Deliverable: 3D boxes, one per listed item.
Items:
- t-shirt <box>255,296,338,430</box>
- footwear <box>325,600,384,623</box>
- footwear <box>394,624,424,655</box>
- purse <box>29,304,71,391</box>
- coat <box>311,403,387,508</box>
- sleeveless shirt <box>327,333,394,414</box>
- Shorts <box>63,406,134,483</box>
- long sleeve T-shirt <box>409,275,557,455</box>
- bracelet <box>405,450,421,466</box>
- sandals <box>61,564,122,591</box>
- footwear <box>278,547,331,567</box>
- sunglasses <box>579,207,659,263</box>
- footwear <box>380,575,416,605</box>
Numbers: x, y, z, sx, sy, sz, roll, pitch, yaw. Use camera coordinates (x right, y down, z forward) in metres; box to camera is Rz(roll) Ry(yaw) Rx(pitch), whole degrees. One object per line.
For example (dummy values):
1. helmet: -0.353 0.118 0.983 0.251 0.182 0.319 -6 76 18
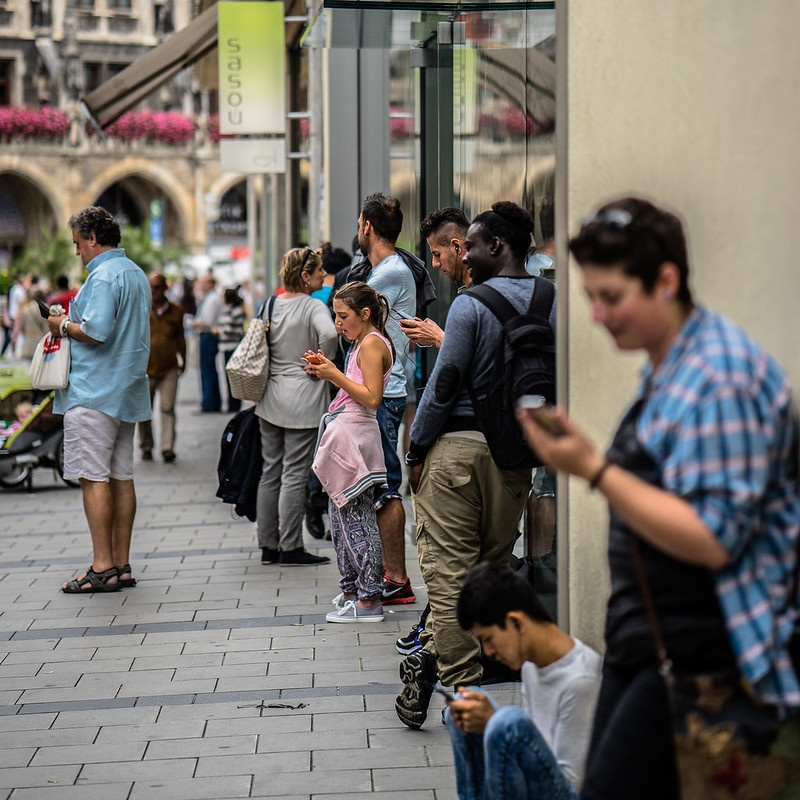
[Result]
1. t-shirt: -0.540 -0.204 7.798 0.544 0.706 0.334 3 5 29
2. footwear: -0.208 0.979 6.797 0.251 0.111 0.107 1 -6 5
3. footwear: 0.037 1.000 6.024 0.094 0.117 0.231 3 1 -17
4. purse: -1.753 -0.277 7.343 0.202 0.435 0.102 -6 39 -40
5. coat: -0.251 0.211 6.764 0.277 0.476 0.388 -3 14 -3
6. sleeveless shirt: -0.157 -0.148 6.680 0.238 0.347 0.178 -3 22 -34
7. Shorts: -1.501 0.286 7.536 0.303 0.511 0.564 -1 -7 9
8. long sleeve T-shirt: 0.282 -0.114 5.109 0.455 0.679 0.267 -4 20 -42
9. bracelet: 0.050 0.202 5.115 0.053 0.041 0.043 3 -7 0
10. sandals: -1.593 0.921 7.552 0.281 0.136 0.129 2 -4 4
11. footwear: -0.538 0.870 8.108 0.313 0.136 0.111 -1 1 -14
12. sunglasses: 0.492 -0.366 3.272 0.148 0.152 0.122 13 0 0
13. footwear: -0.007 0.934 7.095 0.223 0.111 0.084 1 -3 -19
